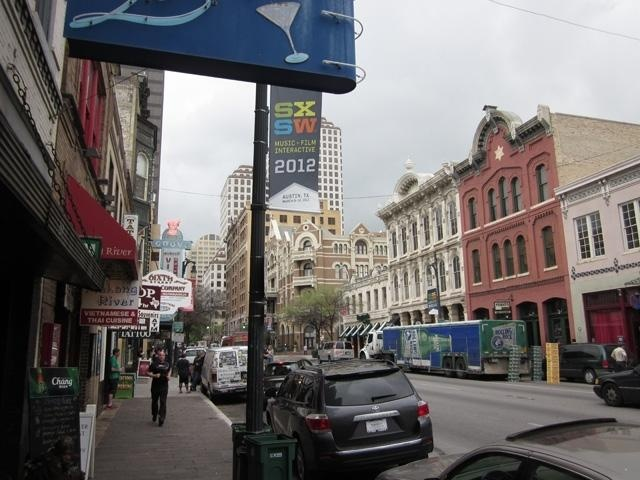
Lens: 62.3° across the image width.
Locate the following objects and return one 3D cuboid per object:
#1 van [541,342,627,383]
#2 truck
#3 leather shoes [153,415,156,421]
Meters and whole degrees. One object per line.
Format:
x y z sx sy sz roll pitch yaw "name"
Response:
12.481 5.662 24.573 1.320 1.217 2.990 2 -8 -8 "van"
7.086 6.516 32.325 2.642 3.038 10.784 2 -11 -25 "truck"
-4.793 5.185 15.300 0.102 0.162 0.039 1 4 -24 "leather shoes"
